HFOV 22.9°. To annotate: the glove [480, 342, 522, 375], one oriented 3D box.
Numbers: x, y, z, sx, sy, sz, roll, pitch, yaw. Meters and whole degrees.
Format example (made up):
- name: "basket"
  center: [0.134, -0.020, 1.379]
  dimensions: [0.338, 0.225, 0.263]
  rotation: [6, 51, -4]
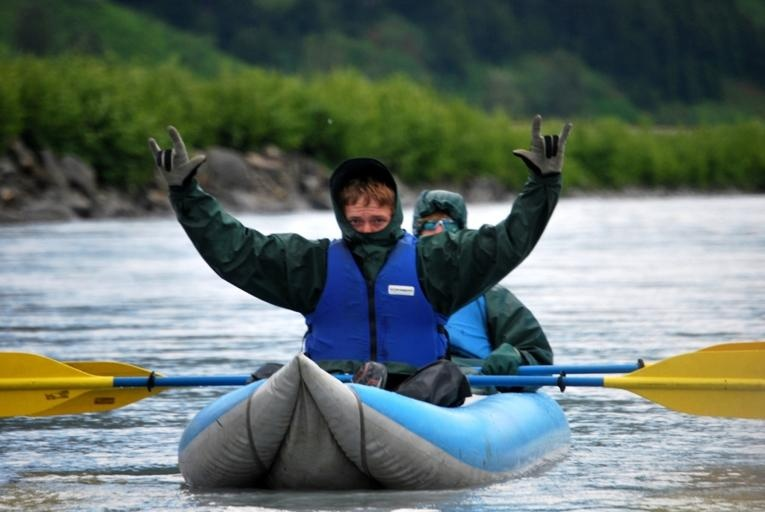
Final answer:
- name: "glove"
  center: [2.087, 1.886, 33.195]
  dimensions: [0.690, 0.263, 0.413]
  rotation: [-37, 42, -18]
